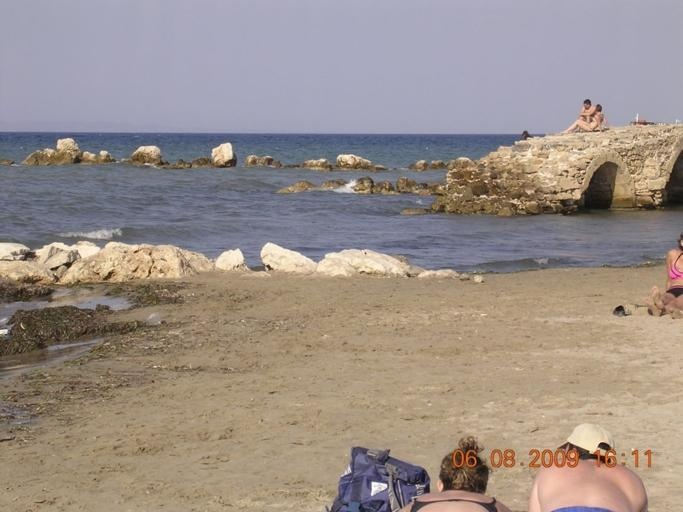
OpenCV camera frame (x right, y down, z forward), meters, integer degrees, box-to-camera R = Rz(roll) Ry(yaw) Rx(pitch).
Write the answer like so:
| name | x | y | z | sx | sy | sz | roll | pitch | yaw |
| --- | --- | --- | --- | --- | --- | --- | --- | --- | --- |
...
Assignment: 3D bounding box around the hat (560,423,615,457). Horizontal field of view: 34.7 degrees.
| name | x | y | z | sx | sy | sz | roll | pitch | yaw |
| --- | --- | --- | --- | --- | --- | --- | --- | --- | --- |
| hat | 3.174 | 2.316 | 14.012 | 0.589 | 0.244 | 0.389 | 2 | -4 | 24 |
